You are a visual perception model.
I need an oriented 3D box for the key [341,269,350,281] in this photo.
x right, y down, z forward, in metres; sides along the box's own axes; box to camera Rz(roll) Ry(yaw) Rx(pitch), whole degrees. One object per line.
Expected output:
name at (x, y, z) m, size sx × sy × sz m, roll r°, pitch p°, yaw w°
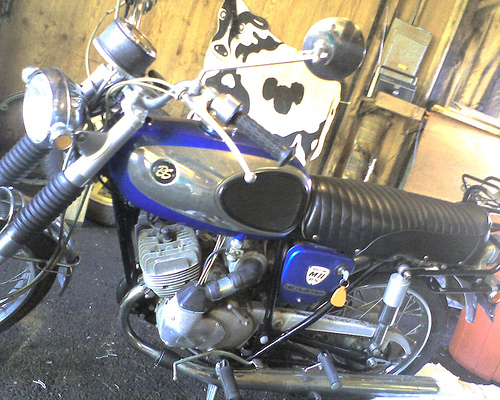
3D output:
key at (0.324, 0.254, 1.627) m, size 0.024 × 0.039 × 0.008 m, roll -1°, pitch 5°, yaw 6°
